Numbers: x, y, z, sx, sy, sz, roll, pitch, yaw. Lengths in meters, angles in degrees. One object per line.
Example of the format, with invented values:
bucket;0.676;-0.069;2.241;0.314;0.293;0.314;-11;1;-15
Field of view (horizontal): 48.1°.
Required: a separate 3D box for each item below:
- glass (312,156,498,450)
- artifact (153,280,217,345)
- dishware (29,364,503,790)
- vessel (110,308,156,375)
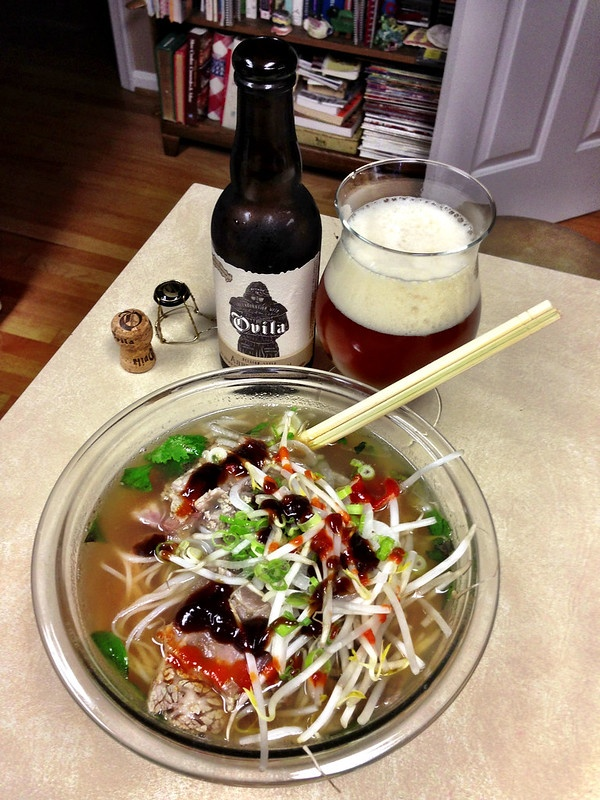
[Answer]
glass;0.130;-0.158;0.914;0.220;0.266;0.189;-5;55;-8
artifact;-0.194;-0.143;1.138;0.077;0.075;0.081;-41;72;-16
dishware;-0.035;0.156;0.738;0.482;0.111;0.482;-26;53;-24
vessel;-0.255;-0.091;1.059;0.061;0.090;0.060;37;61;7
